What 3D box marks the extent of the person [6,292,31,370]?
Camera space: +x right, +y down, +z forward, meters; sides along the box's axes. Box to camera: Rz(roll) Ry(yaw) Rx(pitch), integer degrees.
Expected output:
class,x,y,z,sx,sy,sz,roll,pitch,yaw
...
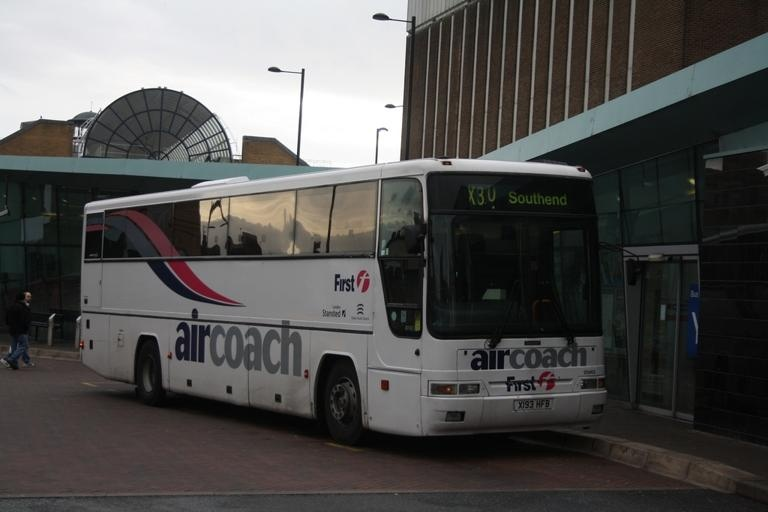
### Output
class,x,y,z,sx,sy,sz,roll,pitch,yaw
person,-11.759,2.393,24.023,0.701,2.428,0.978,2,-3,-28

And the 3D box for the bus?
class,x,y,z,sx,sy,sz,roll,pitch,yaw
bus,-2.231,0.915,16.476,13.766,5.233,3.199,-2,-4,41
